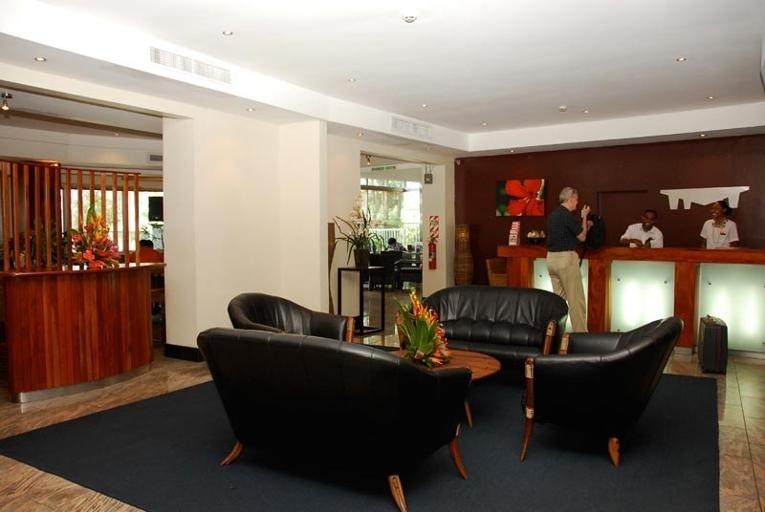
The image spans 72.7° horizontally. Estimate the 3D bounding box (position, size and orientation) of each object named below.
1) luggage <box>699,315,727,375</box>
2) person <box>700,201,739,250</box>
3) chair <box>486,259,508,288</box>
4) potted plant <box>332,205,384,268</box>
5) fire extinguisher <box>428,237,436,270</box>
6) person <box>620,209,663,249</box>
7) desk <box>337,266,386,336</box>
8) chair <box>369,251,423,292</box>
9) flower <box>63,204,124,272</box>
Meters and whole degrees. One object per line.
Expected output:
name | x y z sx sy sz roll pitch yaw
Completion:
luggage | 4.510 1.104 7.006 0.278 0.719 0.754 1 14 36
person | 5.672 -0.532 8.735 0.515 0.812 1.189 6 13 31
chair | 2.237 0.318 10.210 0.361 0.449 0.909 2 11 11
potted plant | -0.361 -0.222 8.990 0.607 0.763 0.728 -1 -2 4
fire extinguisher | 1.110 -0.037 11.562 0.188 0.709 0.108 0 11 0
person | 4.439 -0.465 8.844 0.576 0.571 1.633 5 12 27
desk | -0.220 0.677 9.455 0.683 0.975 0.702 -13 -4 -4
chair | 0.423 0.328 13.619 1.059 0.710 1.098 2 5 31
flower | -3.541 -0.159 6.407 0.524 0.647 0.521 6 18 -43
